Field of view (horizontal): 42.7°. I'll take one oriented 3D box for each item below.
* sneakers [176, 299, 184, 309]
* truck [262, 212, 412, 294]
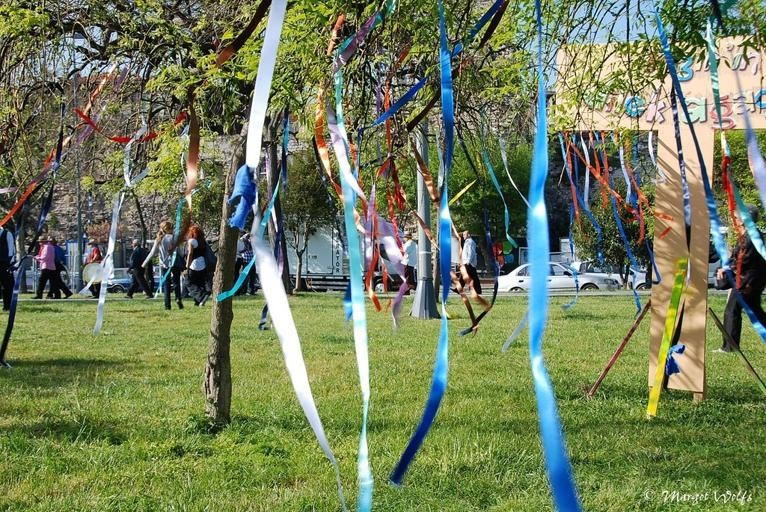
[{"bbox_3d":[-3.561,0.853,17.128,0.051,0.075,0.211,22,9,-21],"label":"sneakers"},{"bbox_3d":[-1.238,0.230,29.076,3.787,2.269,1.314,-1,-9,12],"label":"truck"}]
